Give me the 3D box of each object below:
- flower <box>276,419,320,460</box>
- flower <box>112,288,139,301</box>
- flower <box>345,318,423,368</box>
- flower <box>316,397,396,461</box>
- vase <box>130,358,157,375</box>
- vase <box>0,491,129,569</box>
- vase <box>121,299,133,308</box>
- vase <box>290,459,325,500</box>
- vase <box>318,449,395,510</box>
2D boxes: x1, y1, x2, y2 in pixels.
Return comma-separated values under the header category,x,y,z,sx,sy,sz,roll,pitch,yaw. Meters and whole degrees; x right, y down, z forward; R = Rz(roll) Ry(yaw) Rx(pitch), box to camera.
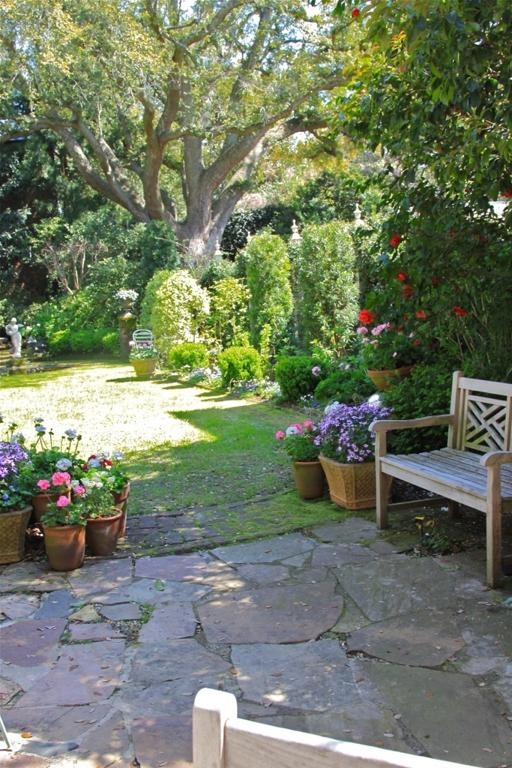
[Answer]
category,x,y,z,sx,sy,sz,roll,pitch,yaw
flower,0.310,0.451,4.908,0.334,0.323,0.278,-3,20,10
flower,-3.385,-2.311,17.417,0.546,0.298,0.544,0,6,-7
flower,1.115,-0.315,5.631,0.358,0.380,0.668,-7,7,-28
flower,0.671,0.365,4.533,0.443,0.278,0.396,-19,23,-14
vase,-2.254,-0.345,13.649,0.469,0.356,0.551,-5,6,-11
vase,-1.037,0.840,3.683,0.561,0.198,0.416,-9,10,-28
vase,-3.450,-2.120,17.848,0.313,0.194,0.275,-1,10,6
vase,0.382,0.688,4.852,0.296,0.262,0.275,-1,0,-3
vase,0.679,0.614,4.471,0.394,0.269,0.407,-1,2,-13
